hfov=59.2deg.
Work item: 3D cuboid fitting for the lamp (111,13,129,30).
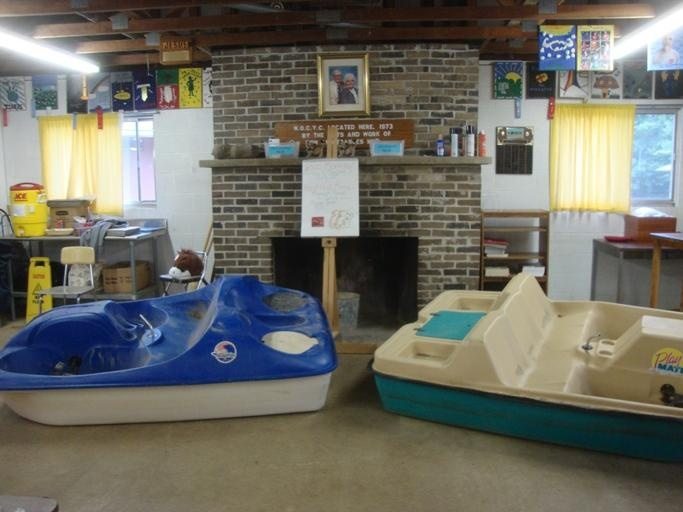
[{"bbox_3d":[-2.326,-2.454,6.305,0.182,0.177,0.067,-4,9,-9],"label":"lamp"}]

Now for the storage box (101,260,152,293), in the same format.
[{"bbox_3d":[-2.634,0.245,7.312,0.487,0.327,0.551,-3,8,1],"label":"storage box"}]

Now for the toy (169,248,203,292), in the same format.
[{"bbox_3d":[-1.733,0.109,6.674,0.351,0.341,0.328,-4,9,-7],"label":"toy"}]

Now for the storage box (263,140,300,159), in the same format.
[{"bbox_3d":[-0.641,-1.136,6.455,0.280,0.127,0.206,1,7,-1],"label":"storage box"}]

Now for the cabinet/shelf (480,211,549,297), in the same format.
[{"bbox_3d":[1.987,-0.061,7.067,0.802,0.975,0.668,-2,9,6],"label":"cabinet/shelf"}]

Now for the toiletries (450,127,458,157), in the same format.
[{"bbox_3d":[1.211,-1.220,6.460,0.101,0.311,0.208,-1,9,13],"label":"toiletries"}]

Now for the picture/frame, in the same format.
[{"bbox_3d":[0.034,-1.873,6.485,0.671,0.703,0.052,-1,8,2],"label":"picture/frame"}]

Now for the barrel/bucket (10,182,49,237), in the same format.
[{"bbox_3d":[-3.775,-0.558,7.255,0.410,0.647,0.287,-7,10,-25],"label":"barrel/bucket"}]

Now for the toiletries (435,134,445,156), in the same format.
[{"bbox_3d":[1.057,-1.187,6.465,0.103,0.245,0.216,-1,9,10],"label":"toiletries"}]

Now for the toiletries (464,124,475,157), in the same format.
[{"bbox_3d":[1.385,-1.252,6.503,0.102,0.330,0.173,2,10,28],"label":"toiletries"}]

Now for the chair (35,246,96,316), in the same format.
[{"bbox_3d":[-3.046,0.264,6.656,0.671,0.785,1.205,-7,9,-25],"label":"chair"}]
